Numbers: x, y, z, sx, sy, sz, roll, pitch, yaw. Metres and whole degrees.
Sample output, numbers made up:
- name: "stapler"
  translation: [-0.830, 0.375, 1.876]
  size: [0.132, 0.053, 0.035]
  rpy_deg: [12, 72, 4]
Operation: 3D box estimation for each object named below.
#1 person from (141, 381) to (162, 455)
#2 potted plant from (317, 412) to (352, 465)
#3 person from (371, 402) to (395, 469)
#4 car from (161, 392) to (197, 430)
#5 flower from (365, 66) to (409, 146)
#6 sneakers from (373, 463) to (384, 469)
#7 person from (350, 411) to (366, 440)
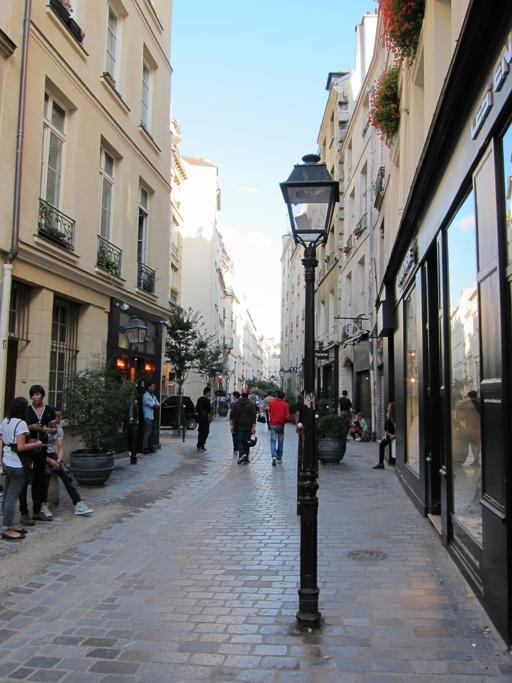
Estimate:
- name: "person"
  translation: [-2.870, 2.155, 15.667]
  size: [0.435, 1.875, 1.473]
  rpy_deg: [1, -7, -11]
- name: "potted plant"
  translation: [1.766, 2.342, 13.545]
  size: [0.839, 1.417, 0.928]
  rpy_deg: [3, -8, -13]
- name: "person"
  translation: [2.931, 2.220, 13.199]
  size: [0.470, 1.444, 2.345]
  rpy_deg: [-2, -8, 13]
- name: "car"
  translation: [-3.290, 3.107, 24.397]
  size: [1.511, 1.461, 3.606]
  rpy_deg: [0, -8, -7]
- name: "flower"
  translation: [2.719, -5.246, 12.273]
  size: [0.630, 1.682, 1.465]
  rpy_deg: [-2, -7, 12]
- name: "sneakers"
  translation: [2.753, 2.850, 12.898]
  size: [0.286, 0.163, 0.112]
  rpy_deg: [2, -6, -6]
- name: "person"
  translation: [4.046, 3.449, 22.352]
  size: [0.798, 0.695, 0.566]
  rpy_deg: [2, 3, -9]
